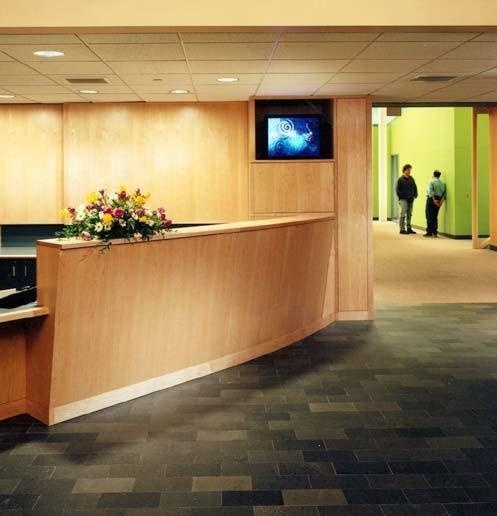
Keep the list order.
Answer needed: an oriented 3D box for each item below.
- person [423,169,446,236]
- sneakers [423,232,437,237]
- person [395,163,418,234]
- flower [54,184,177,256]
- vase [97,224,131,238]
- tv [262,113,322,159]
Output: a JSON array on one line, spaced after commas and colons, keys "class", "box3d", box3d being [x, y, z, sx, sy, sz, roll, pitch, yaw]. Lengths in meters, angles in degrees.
[{"class": "person", "box3d": [5.709, -1.637, 14.190, 0.555, 1.977, 0.942, 2, 6, 20]}, {"class": "sneakers", "box3d": [5.697, -0.765, 14.602, 0.390, 0.222, 0.135, -6, 11, -21]}, {"class": "person", "box3d": [5.197, -1.934, 15.379, 0.620, 2.239, 1.263, 2, 6, 18]}, {"class": "flower", "box3d": [-0.928, -0.329, 3.559, 0.650, 0.308, 0.650, -20, 15, 9]}, {"class": "vase", "box3d": [-0.934, -0.192, 3.292, 0.088, 0.112, 0.239, 5, 7, 41]}, {"class": "tv", "box3d": [0.537, -1.562, 6.042, 0.773, 0.546, 0.233, -6, 13, -21]}]
